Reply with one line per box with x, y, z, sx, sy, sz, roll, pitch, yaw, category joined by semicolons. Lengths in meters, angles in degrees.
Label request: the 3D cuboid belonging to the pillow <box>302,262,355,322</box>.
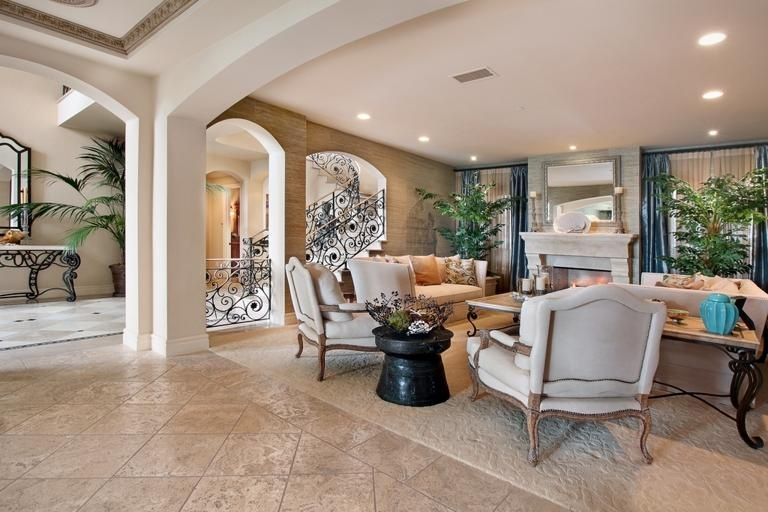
-0.687;0.412;4.723;0.181;0.550;0.604;-18;0;26;pillow

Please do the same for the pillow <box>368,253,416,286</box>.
0.119;0.168;6.987;0.510;0.167;0.599;5;-12;41;pillow

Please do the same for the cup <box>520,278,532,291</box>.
1.758;0.361;5.471;0.150;0.159;0.153;-2;0;0;cup

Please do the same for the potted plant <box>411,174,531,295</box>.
1.726;-0.416;8.558;2.712;2.626;1.053;-1;5;1;potted plant

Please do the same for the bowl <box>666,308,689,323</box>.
2.769;0.562;4.096;0.153;0.064;0.149;-3;4;0;bowl

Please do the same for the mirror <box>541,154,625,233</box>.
3.803;-1.180;8.181;1.643;1.459;0.109;1;4;32;mirror

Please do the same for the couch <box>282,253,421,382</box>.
-0.327;0.624;4.950;1.380;1.193;1.057;2;0;-28;couch

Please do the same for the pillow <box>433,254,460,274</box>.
1.134;0.142;7.659;0.382;0.335;0.114;5;-15;19;pillow
